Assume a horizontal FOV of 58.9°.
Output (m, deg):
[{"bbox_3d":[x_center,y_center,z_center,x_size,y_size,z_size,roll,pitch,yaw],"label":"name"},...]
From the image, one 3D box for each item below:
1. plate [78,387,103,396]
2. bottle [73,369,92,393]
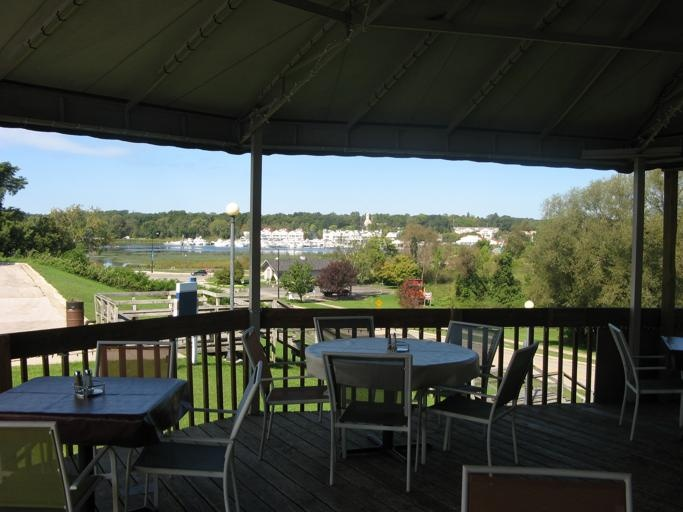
[{"bbox_3d":[-1.492,0.814,3.614,0.141,0.047,0.066,0,-1,-26],"label":"plate"},{"bbox_3d":[-1.557,0.766,3.654,0.088,0.193,0.099,0,-2,-10],"label":"bottle"}]
